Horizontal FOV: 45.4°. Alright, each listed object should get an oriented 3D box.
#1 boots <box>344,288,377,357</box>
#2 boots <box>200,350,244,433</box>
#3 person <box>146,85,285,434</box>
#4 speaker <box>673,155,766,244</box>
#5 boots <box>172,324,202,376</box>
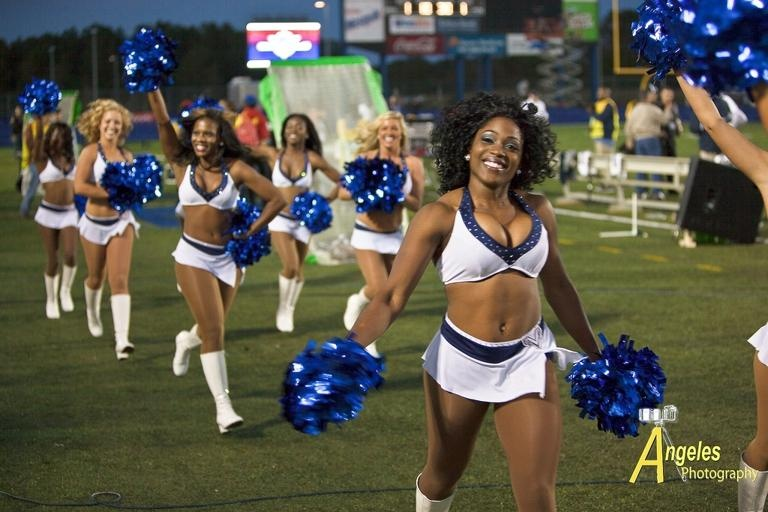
[{"bbox_3d":[-0.225,0.555,7.823,0.253,0.316,0.741,0,47,-10],"label":"boots"},{"bbox_3d":[-1.029,0.884,5.910,0.206,0.477,0.389,-4,13,-19],"label":"boots"},{"bbox_3d":[-1.146,-0.067,6.144,0.833,2.058,1.114,0,13,1],"label":"person"},{"bbox_3d":[1.853,-0.296,5.060,0.503,0.457,0.121,5,12,-16],"label":"speaker"},{"bbox_3d":[-1.407,0.677,6.571,0.300,0.431,0.147,0,-1,41],"label":"boots"}]
